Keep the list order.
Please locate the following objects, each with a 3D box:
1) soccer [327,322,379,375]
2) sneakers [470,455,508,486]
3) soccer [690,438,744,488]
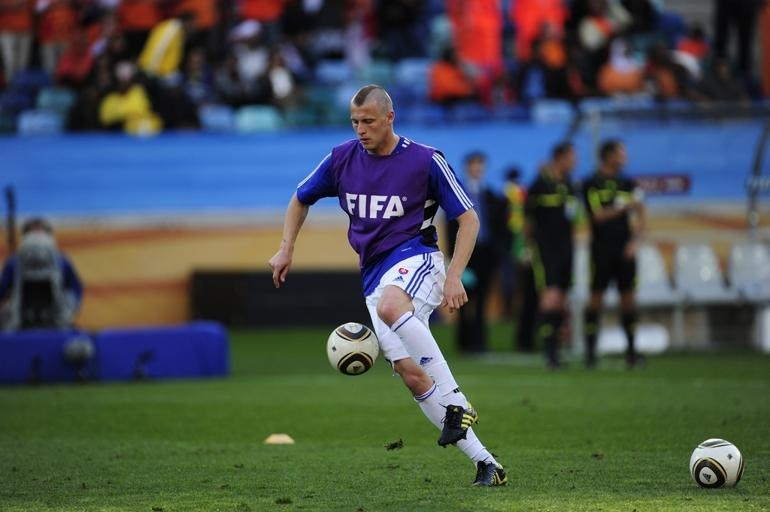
[{"bbox_3d":[-0.325,0.955,16.617,0.503,0.490,0.497,1,-11,-2],"label":"soccer"},{"bbox_3d":[1.008,2.179,16.230,0.456,0.221,0.152,8,-15,-44],"label":"sneakers"},{"bbox_3d":[3.191,2.043,16.305,0.492,0.478,0.456,3,14,-19],"label":"soccer"}]
